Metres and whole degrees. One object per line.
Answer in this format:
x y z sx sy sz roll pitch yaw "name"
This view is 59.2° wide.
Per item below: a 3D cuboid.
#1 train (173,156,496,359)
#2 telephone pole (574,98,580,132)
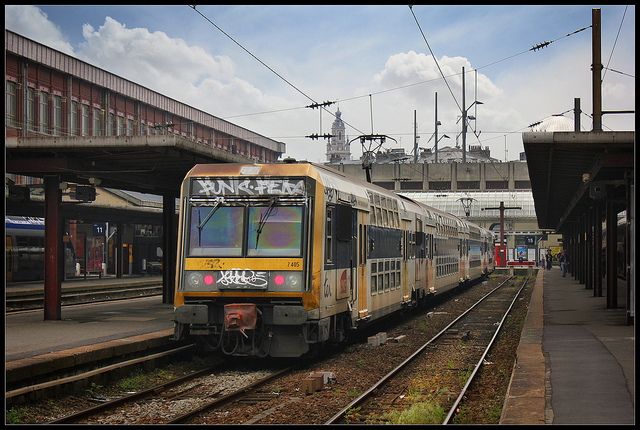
3.409 2.042 24.961 3.219 4.606 28.956 -2 -5 21 "train"
9.303 -3.664 20.464 0.171 1.227 0.645 -4 -4 24 "telephone pole"
